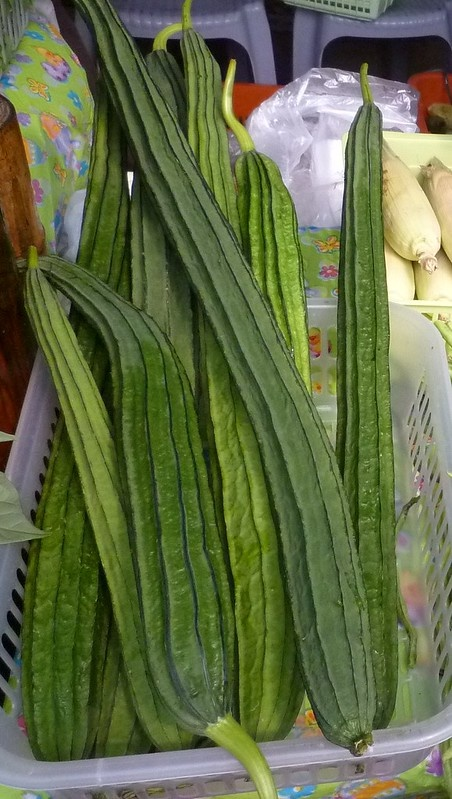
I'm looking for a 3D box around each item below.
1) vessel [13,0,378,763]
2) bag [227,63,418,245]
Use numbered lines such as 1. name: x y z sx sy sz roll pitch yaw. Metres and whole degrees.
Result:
1. vessel: -0.030 -0.019 0.618 0.248 0.107 0.865 0 72 -6
2. bag: 0.150 -0.359 1.271 0.249 0.377 0.117 4 -7 0
